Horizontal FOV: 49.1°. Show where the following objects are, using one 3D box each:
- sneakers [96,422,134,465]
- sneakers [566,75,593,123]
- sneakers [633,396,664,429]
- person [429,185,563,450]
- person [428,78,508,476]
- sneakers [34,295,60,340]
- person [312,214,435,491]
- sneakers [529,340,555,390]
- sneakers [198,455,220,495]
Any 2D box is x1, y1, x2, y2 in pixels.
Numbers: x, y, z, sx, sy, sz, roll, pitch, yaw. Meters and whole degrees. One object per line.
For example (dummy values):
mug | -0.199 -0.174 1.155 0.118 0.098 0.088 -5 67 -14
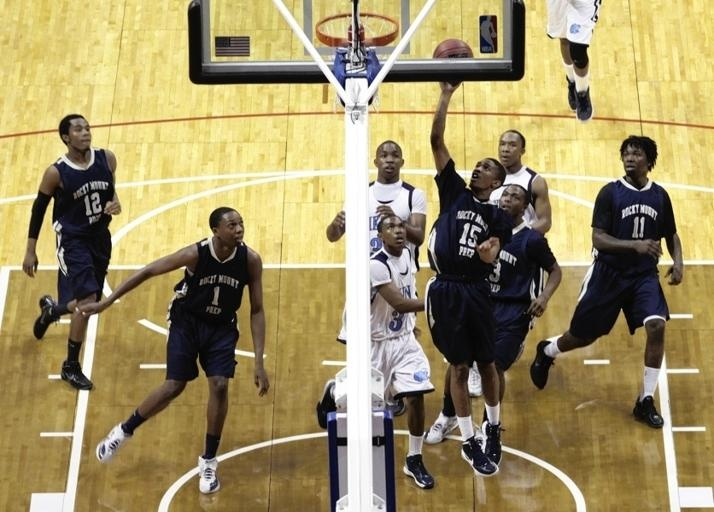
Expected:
sneakers | -2.114 1.655 6.882 0.164 0.433 0.180 38 1 6
sneakers | 2.566 -1.743 8.986 0.189 0.610 0.218 -13 -6 16
sneakers | 2.695 1.411 7.214 0.129 0.263 0.338 -6 17 -17
person | 1.304 0.567 7.213 0.948 2.523 0.681 7 -12 27
person | 0.936 0.305 6.334 0.717 3.347 0.578 -3 6 -24
sneakers | -3.080 0.600 7.744 0.234 0.596 0.192 4 -3 45
person | 0.396 0.892 6.711 0.524 2.212 0.599 0 6 5
sneakers | 1.747 1.041 7.449 0.161 0.531 0.197 -1 15 -11
sneakers | -1.300 1.890 6.896 0.186 0.211 0.463 -1 10 -10
